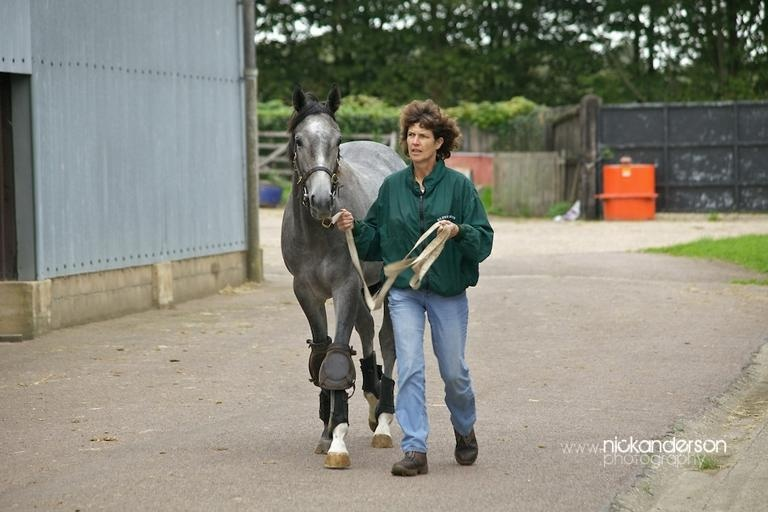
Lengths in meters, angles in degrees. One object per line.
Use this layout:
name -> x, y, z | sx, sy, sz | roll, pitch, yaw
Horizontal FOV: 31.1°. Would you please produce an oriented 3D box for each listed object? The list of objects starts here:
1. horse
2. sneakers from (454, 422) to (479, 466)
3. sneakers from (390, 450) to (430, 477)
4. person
horse -> -0.381, 0.306, 17.059 | 1.383, 4.387, 5.419 | -1, -1, 13
sneakers -> 0.914, 2.112, 15.545 | 0.160, 0.498, 0.196 | -3, 0, 5
sneakers -> 0.293, 2.299, 15.283 | 0.424, 0.266, 0.199 | 4, -3, -32
person -> 0.518, 0.327, 15.555 | 1.246, 4.059, 0.892 | -3, 8, -20
